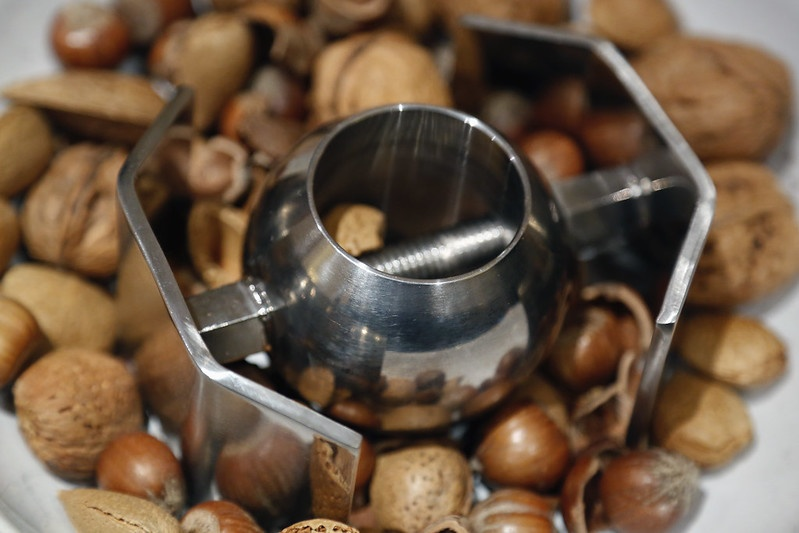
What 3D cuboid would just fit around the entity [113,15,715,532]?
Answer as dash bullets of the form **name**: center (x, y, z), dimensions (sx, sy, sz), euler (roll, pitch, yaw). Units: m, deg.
- **entity**: center (0.025, 0.059, 0.921), dimensions (0.508, 0.299, 0.551), euler (30, 60, 9)
